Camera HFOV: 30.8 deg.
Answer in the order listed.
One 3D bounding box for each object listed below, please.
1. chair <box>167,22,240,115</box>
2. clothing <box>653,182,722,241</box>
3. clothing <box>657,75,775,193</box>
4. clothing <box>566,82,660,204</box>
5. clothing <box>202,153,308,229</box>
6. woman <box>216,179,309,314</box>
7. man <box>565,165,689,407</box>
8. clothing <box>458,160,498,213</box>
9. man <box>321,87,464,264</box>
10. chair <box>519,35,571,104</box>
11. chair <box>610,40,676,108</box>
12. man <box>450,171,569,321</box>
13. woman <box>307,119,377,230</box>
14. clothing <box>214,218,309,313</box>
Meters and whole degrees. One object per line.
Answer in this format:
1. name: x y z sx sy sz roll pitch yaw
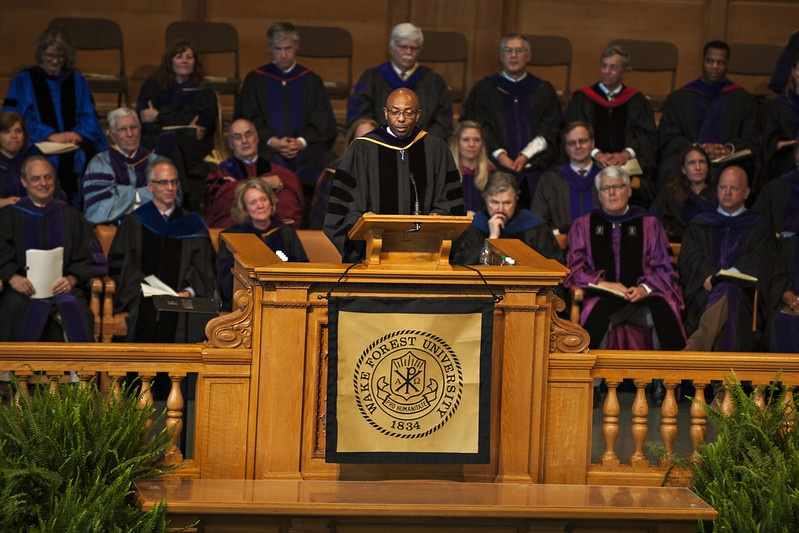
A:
1. chair: -2.154 -2.334 16.516 0.891 1.230 0.888 -5 15 -17
2. clothing: 2.793 -0.576 14.451 0.508 0.614 0.257 7 11 32
3. clothing: 3.301 -1.328 15.576 0.904 1.363 0.496 0 -35 9
4. clothing: 2.363 -1.297 15.510 1.057 1.250 0.435 1 3 2
5. clothing: -1.457 -0.762 14.815 0.977 0.673 0.383 1 -24 -23
6. woman: -1.280 -0.201 13.631 0.858 1.227 0.515 0 0 -7
7. man: 2.089 -0.086 13.455 1.086 1.684 0.775 0 0 7
8. clothing: 0.747 -0.782 14.408 0.473 0.443 0.165 4 10 14
9. man: -0.065 -0.574 11.561 1.118 1.099 0.451 0 0 -28
10. chair: 1.707 -2.349 17.136 0.715 0.991 0.712 0 4 2
11. chair: 2.925 -2.271 17.049 0.777 1.232 0.860 0 6 3
12. man: 0.981 -0.460 13.841 1.155 0.886 0.384 0 0 -27
13. woman: -0.649 -0.950 14.590 0.444 1.178 0.741 19 6 -25
14. clothing: -1.246 0.067 13.847 1.058 0.947 0.792 -1 -3 -13
